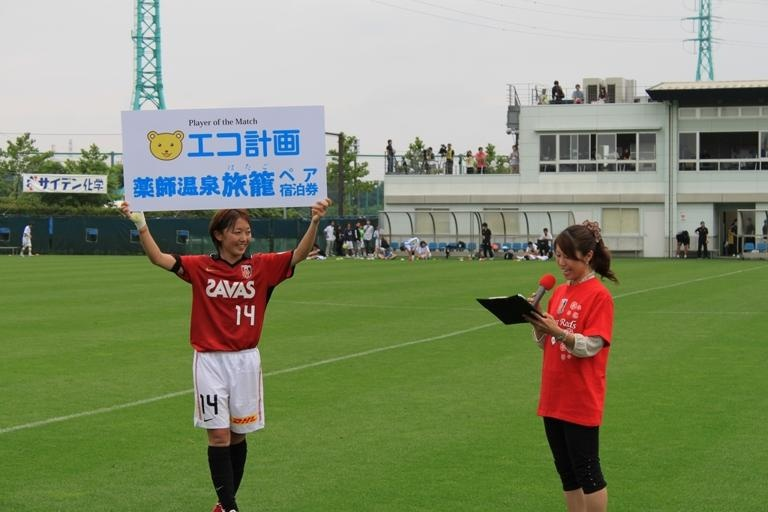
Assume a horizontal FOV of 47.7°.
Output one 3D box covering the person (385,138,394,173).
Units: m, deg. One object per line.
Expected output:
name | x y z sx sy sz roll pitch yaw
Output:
person | 0.328 -5.829 51.366 0.489 1.900 0.870 -2 3 -1

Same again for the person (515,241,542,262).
person | 7.037 -0.204 42.522 1.400 0.860 0.592 -7 7 -42

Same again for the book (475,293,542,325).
book | 1.113 0.467 7.661 0.506 0.283 0.319 1 4 32

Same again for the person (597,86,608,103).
person | 11.895 -8.879 47.928 0.443 0.997 1.281 -1 4 14

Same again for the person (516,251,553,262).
person | 7.421 0.088 41.772 1.931 0.620 0.635 3 1 -3

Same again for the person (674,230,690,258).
person | 15.274 -0.622 44.959 0.639 1.408 2.375 -1 4 18

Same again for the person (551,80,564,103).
person | 9.472 -9.084 48.221 0.576 1.165 0.478 -1 3 9

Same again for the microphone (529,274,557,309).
microphone | 1.379 0.297 7.682 0.198 0.274 0.373 -1 4 9

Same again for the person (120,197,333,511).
person | -1.396 0.985 8.145 1.589 2.844 0.734 -2 3 -10

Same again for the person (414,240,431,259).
person | 1.869 -0.306 43.011 0.824 1.169 0.793 -2 -4 5
